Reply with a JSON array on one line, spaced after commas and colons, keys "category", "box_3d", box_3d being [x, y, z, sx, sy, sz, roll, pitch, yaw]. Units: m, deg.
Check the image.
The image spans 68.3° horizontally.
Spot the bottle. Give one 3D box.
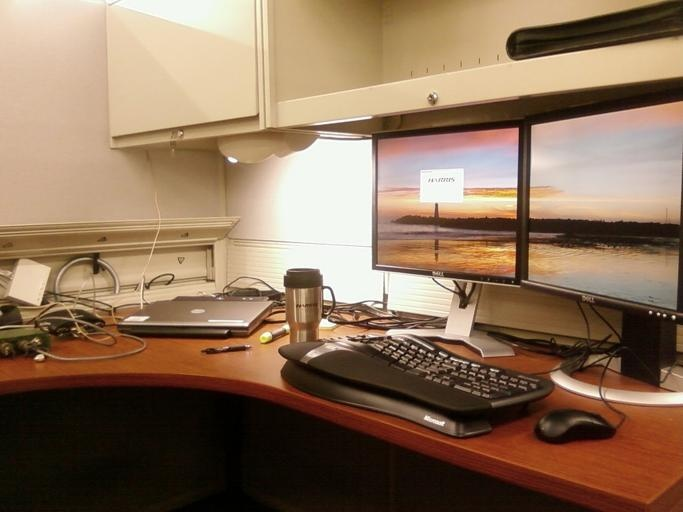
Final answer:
[{"category": "bottle", "box_3d": [-0.101, 0.140, 1.430, 0.101, 0.188, 0.125, 2, 2, 42]}]

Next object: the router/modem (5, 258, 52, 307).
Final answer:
[{"category": "router/modem", "box_3d": [-1.031, 0.090, 1.671, 0.158, 0.144, 0.048, 23, -19, -30]}]

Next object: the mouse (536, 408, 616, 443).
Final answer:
[{"category": "mouse", "box_3d": [0.431, 0.314, 0.930, 0.139, 0.053, 0.044, 0, 5, -8]}]

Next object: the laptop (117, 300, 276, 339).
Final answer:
[{"category": "laptop", "box_3d": [-0.434, 0.200, 1.564, 0.519, 0.038, 0.375, 3, 5, -6]}]
